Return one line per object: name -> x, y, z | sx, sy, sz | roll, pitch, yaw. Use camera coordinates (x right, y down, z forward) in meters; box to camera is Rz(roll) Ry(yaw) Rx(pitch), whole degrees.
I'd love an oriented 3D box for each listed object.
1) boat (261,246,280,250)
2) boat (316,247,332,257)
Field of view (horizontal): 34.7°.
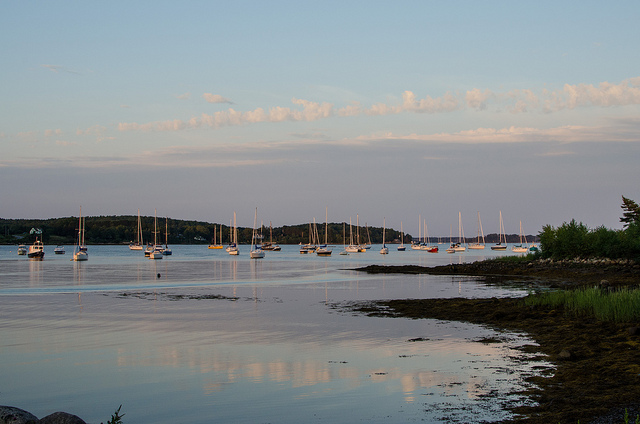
boat -> -13.888, 10.104, 272.287 | 3.940, 0.853, 1.153 | -3, 0, -8
boat -> 0.557, 9.191, 222.918 | 1.259, 1.627, 4.335 | -2, -2, -33
